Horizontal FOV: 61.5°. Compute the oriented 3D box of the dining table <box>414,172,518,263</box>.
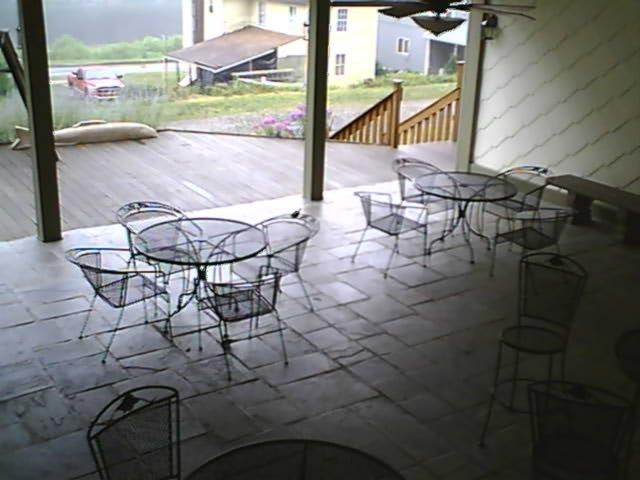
[{"bbox_3d":[1.723,-0.308,6.563,1.220,0.675,1.095,8,-1,-28],"label":"dining table"}]

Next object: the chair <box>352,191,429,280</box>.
[{"bbox_3d":[0.830,-0.011,6.424,0.869,0.906,0.790,-23,38,-23],"label":"chair"}]
